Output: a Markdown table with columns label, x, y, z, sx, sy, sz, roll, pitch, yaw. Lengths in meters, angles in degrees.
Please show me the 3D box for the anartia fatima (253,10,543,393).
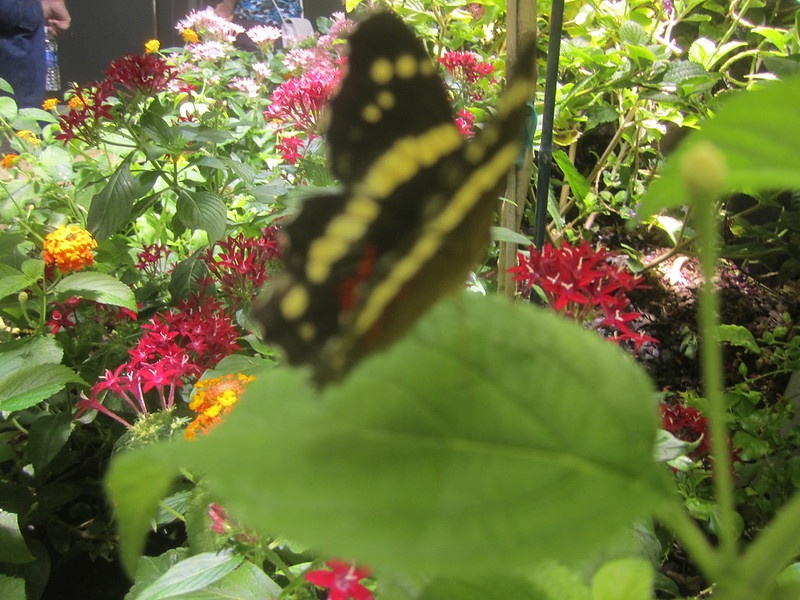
| label | x | y | z | sx | sy | sz | roll | pitch | yaw |
| --- | --- | --- | --- | --- | --- | --- | --- | --- | --- |
| anartia fatima | -0.028 | -0.076 | 1.461 | 0.446 | 0.539 | 0.676 | 45 | -6 | 12 |
